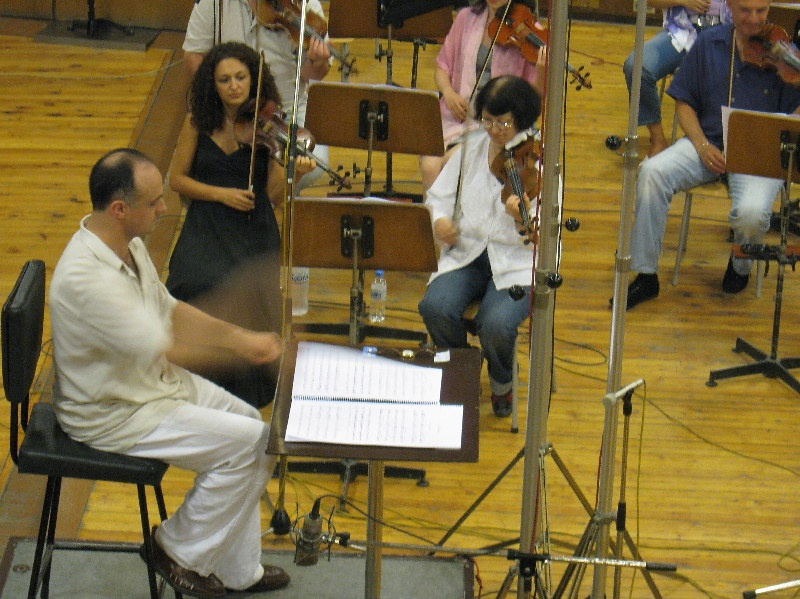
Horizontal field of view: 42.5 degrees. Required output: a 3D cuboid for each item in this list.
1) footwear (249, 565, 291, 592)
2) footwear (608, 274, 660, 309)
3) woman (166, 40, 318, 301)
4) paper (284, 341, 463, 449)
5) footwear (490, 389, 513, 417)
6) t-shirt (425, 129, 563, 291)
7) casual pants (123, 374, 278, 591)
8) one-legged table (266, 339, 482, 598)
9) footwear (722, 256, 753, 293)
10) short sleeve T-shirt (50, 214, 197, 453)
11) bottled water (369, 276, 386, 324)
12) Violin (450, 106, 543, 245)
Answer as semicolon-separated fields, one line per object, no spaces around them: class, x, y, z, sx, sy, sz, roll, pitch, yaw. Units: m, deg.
footwear;-0.504;1.075;3.992;0.145;0.054;0.074;-4;-16;-20
footwear;1.171;-0.041;5.085;0.214;0.150;0.080;-17;29;-6
woman;-0.819;-0.569;5.019;0.597;1.328;0.398;-6;2;5
paper;-0.100;0.263;3.274;0.424;0.315;0.073;6;-34;3
footwear;0.494;0.494;4.914;0.068;0.152;0.058;-1;-19;4
t-shirt;0.376;-0.391;4.870;0.458;0.936;0.281;-6;-3;20
casual pants;-0.757;0.669;4.235;0.627;0.962;0.696;-2;5;-10
one-legged table;0.037;0.628;3.614;0.674;0.694;1.011;8;-39;0
footwear;1.895;-0.160;5.862;0.121;0.209;0.206;-3;31;6
short sleeve T-shirt;-1.009;0.150;3.766;0.463;0.796;0.605;3;29;-2
bottled water;-0.118;-0.026;5.542;0.083;0.268;0.126;3;8;-3
Violin;0.466;-0.486;4.611;0.326;0.663;0.153;-10;-21;33
